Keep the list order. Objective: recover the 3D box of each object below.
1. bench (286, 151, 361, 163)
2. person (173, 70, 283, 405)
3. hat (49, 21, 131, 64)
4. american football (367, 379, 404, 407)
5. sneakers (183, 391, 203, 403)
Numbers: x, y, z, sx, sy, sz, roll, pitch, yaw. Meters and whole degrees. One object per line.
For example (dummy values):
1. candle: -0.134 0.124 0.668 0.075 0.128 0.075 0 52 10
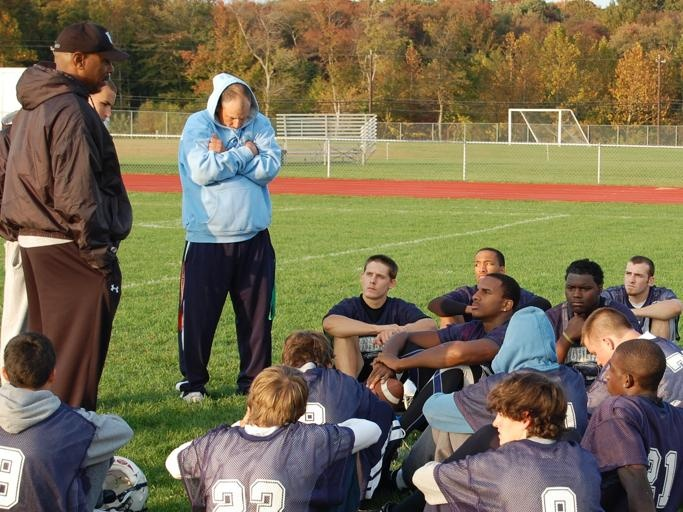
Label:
1. bench: -0.833 -3.920 45.562 2.048 0.525 3.545 2 5 44
2. person: -1.016 -0.180 10.463 0.957 2.913 0.478 -1 3 -10
3. hat: -1.987 -1.672 9.156 0.482 0.289 0.311 -7 19 -19
4. american football: 0.378 1.146 9.935 0.258 0.210 0.132 19 -19 7
5. sneakers: -1.314 1.255 10.409 0.197 0.098 0.076 0 4 19
